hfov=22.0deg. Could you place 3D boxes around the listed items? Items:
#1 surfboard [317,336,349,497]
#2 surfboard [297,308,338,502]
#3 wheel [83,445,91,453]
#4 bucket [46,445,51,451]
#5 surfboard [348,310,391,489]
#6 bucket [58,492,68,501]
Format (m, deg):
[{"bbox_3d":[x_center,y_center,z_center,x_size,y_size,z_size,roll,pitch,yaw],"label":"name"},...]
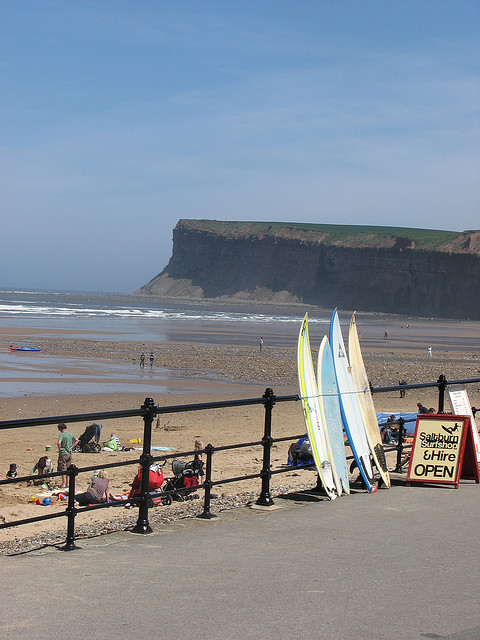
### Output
[{"bbox_3d":[0.718,0.755,9.737,0.215,1.257,0.133,7,-26,-34],"label":"surfboard"},{"bbox_3d":[0.583,0.671,9.555,0.248,1.340,0.690,-3,-1,2],"label":"surfboard"},{"bbox_3d":[-2.301,1.947,18.529,0.085,0.092,0.026,-5,-3,-22],"label":"wheel"},{"bbox_3d":[-2.853,1.920,18.396,0.074,0.077,0.075,0,1,0],"label":"bucket"},{"bbox_3d":[1.094,0.739,10.209,0.322,2.013,0.285,-7,6,-24],"label":"surfboard"},{"bbox_3d":[-1.953,1.965,13.641,0.101,0.057,0.140,13,1,-18],"label":"bucket"}]
